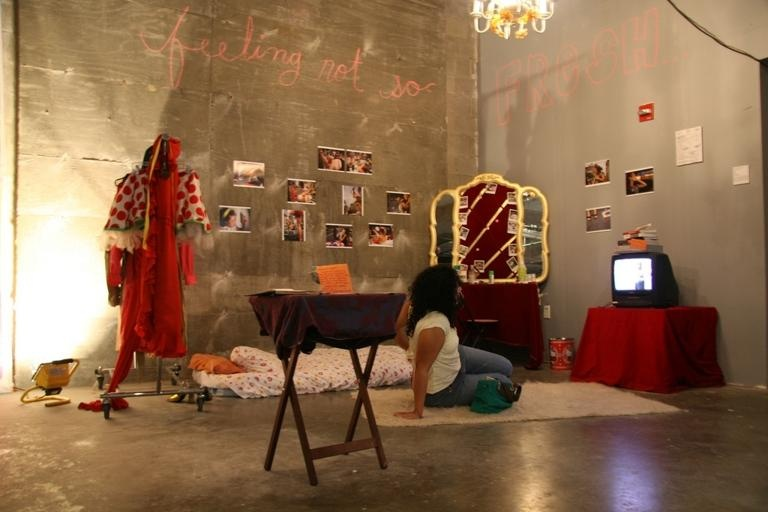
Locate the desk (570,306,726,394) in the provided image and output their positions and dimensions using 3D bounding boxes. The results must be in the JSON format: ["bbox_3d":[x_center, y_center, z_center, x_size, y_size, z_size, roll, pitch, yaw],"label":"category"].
[{"bbox_3d":[3.074,0.956,6.659,1.480,0.697,1.341,3,-4,-29],"label":"desk"}]

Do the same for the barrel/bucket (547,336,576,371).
[{"bbox_3d":[2.347,1.300,7.538,0.383,0.397,0.378,-1,-2,0],"label":"barrel/bucket"}]

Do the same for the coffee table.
[{"bbox_3d":[-0.490,0.882,4.317,1.194,1.568,1.256,4,-8,-34],"label":"coffee table"}]

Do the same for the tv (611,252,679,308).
[{"bbox_3d":[2.965,0.317,6.682,0.700,0.666,0.645,6,-9,-35],"label":"tv"}]

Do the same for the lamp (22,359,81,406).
[{"bbox_3d":[-3.500,1.314,5.926,0.564,0.402,0.445,-13,-15,43],"label":"lamp"}]

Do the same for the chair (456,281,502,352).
[{"bbox_3d":[1.227,0.858,7.680,0.572,0.746,0.455,3,-9,4],"label":"chair"}]

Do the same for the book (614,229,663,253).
[{"bbox_3d":[3.045,-0.167,6.670,0.361,0.214,0.358,3,-5,-37],"label":"book"}]

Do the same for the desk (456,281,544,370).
[{"bbox_3d":[1.651,0.813,7.956,1.566,1.264,1.139,1,6,10],"label":"desk"}]

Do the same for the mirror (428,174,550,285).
[{"bbox_3d":[1.556,-0.345,8.205,1.696,1.440,0.088,1,-7,13],"label":"mirror"}]

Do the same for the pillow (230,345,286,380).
[{"bbox_3d":[-1.436,1.192,6.475,0.483,0.184,0.730,21,-4,-29],"label":"pillow"}]

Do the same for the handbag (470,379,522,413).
[{"bbox_3d":[1.024,1.298,5.238,0.293,0.151,0.359,2,-3,-15],"label":"handbag"}]

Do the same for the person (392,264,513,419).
[{"bbox_3d":[0.585,0.744,5.158,1.086,1.344,0.486,-3,5,-33],"label":"person"}]
